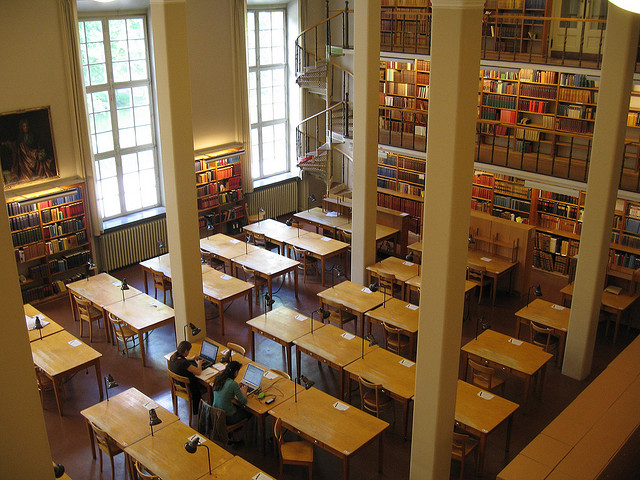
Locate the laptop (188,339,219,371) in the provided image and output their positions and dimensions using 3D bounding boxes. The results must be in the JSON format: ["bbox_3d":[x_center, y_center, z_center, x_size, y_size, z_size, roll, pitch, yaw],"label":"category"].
[{"bbox_3d":[-1.651,1.591,7.465,0.374,0.259,0.391,11,12,14],"label":"laptop"}]

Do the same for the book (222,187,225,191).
[{"bbox_3d":[-2.358,-1.279,13.031,0.057,0.060,0.032,16,28,33],"label":"book"}]

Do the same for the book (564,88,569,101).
[{"bbox_3d":[4.998,-2.989,10.804,0.098,0.189,0.190,4,16,18],"label":"book"}]

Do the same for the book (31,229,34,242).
[{"bbox_3d":[-5.505,-0.119,10.193,0.015,0.223,0.046,6,22,22],"label":"book"}]

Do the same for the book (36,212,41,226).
[{"bbox_3d":[-5.418,-0.427,10.237,0.052,0.254,0.045,-9,21,-16],"label":"book"}]

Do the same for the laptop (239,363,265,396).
[{"bbox_3d":[-0.968,1.785,6.945,0.336,0.271,0.365,14,5,43],"label":"laptop"}]

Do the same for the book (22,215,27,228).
[{"bbox_3d":[-5.583,-0.365,10.061,0.057,0.234,0.020,-17,25,-33],"label":"book"}]

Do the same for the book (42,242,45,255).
[{"bbox_3d":[-5.384,0.160,10.351,0.013,0.202,0.052,8,23,27],"label":"book"}]

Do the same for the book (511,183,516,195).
[{"bbox_3d":[4.250,-1.129,11.726,0.069,0.139,0.135,6,19,23],"label":"book"}]

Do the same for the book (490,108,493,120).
[{"bbox_3d":[3.842,-2.855,11.949,0.060,0.231,0.029,6,22,23],"label":"book"}]

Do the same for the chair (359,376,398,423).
[{"bbox_3d":[0.747,2.172,7.264,0.435,0.827,0.403,15,27,39],"label":"chair"}]

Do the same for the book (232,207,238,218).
[{"bbox_3d":[-2.118,-0.720,13.389,0.063,0.253,0.044,-1,20,4],"label":"book"}]

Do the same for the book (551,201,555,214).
[{"bbox_3d":[4.922,-0.767,11.247,0.042,0.221,0.044,-5,23,-18],"label":"book"}]

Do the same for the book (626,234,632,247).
[{"bbox_3d":[5.983,-0.023,10.314,0.042,0.217,0.072,15,27,39],"label":"book"}]

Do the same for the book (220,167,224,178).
[{"bbox_3d":[-2.369,-1.670,12.943,0.020,0.248,0.053,12,25,35],"label":"book"}]

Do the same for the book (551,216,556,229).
[{"bbox_3d":[4.952,-0.403,11.325,0.061,0.261,0.031,7,23,25],"label":"book"}]

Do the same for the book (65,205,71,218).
[{"bbox_3d":[-5.022,-0.606,10.573,0.104,0.196,0.197,2,16,4],"label":"book"}]

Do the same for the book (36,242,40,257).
[{"bbox_3d":[-5.452,0.163,10.291,0.016,0.260,0.064,16,27,41],"label":"book"}]

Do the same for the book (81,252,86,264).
[{"bbox_3d":[-4.829,0.356,10.868,0.046,0.244,0.035,-12,22,-23],"label":"book"}]

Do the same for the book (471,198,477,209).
[{"bbox_3d":[3.567,-0.897,12.351,0.052,0.177,0.168,9,24,28],"label":"book"}]

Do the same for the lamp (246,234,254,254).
[{"bbox_3d":[-1.544,-0.027,11.704,0.186,0.296,0.172,0,16,-6],"label":"lamp"}]

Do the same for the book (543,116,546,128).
[{"bbox_3d":[4.753,-2.545,11.303,0.024,0.225,0.084,-8,21,-14],"label":"book"}]

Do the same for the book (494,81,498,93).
[{"bbox_3d":[3.873,-3.406,11.767,0.016,0.202,0.037,-20,27,-39],"label":"book"}]

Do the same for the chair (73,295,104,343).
[{"bbox_3d":[-4.043,1.321,9.508,0.553,0.791,0.538,-8,19,-29],"label":"chair"}]

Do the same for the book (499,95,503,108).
[{"bbox_3d":[3.983,-3.081,11.714,0.057,0.272,0.035,10,24,30],"label":"book"}]

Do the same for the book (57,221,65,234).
[{"bbox_3d":[-5.106,-0.275,10.553,0.155,0.237,0.229,0,8,-4],"label":"book"}]

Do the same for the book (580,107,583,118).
[{"bbox_3d":[5.269,-2.599,10.744,0.053,0.198,0.012,4,22,18],"label":"book"}]

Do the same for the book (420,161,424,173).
[{"bbox_3d":[2.481,-1.828,13.093,0.140,0.208,0.197,5,13,23],"label":"book"}]

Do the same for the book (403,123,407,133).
[{"bbox_3d":[2.134,-2.846,13.368,0.091,0.223,0.195,1,21,10],"label":"book"}]

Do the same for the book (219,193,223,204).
[{"bbox_3d":[-2.430,-1.049,12.985,0.054,0.262,0.245,-1,5,-11],"label":"book"}]

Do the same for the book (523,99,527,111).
[{"bbox_3d":[4.390,-2.915,11.418,0.048,0.223,0.011,8,23,26],"label":"book"}]

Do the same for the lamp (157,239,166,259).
[{"bbox_3d":[-3.364,0.158,11.262,0.244,0.095,0.303,-19,60,4],"label":"lamp"}]

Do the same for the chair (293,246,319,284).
[{"bbox_3d":[-0.303,0.453,11.131,0.468,0.761,0.489,11,21,30],"label":"chair"}]

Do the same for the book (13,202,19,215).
[{"bbox_3d":[-5.675,-0.622,9.909,0.029,0.309,0.158,-11,23,-32],"label":"book"}]

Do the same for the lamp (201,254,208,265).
[{"bbox_3d":[-2.370,0.392,10.890,0.103,0.247,0.311,-6,22,-8],"label":"lamp"}]
